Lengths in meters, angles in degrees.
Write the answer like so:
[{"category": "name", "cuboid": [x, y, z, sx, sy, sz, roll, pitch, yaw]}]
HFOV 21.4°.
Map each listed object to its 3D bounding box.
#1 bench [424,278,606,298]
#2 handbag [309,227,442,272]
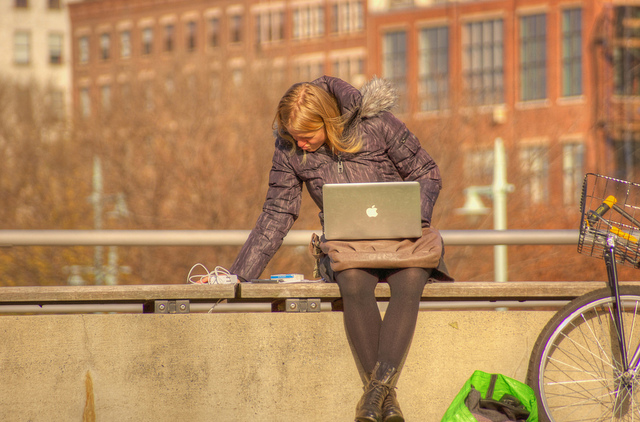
[{"category": "bench", "cuboid": [2.991, 1.177, 25.928, 1.905, 0.148, 0.346, 1, -9, -2]}, {"category": "handbag", "cuboid": [0.792, 0.550, 26.181, 1.392, 0.447, 1.492, -2, 16, 33]}]
